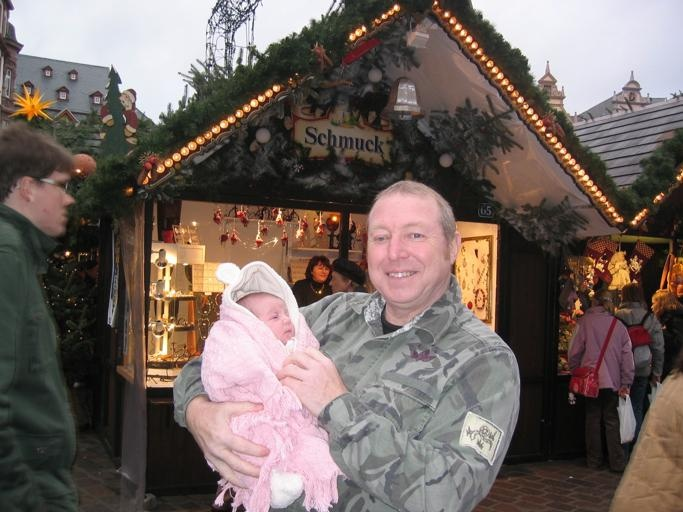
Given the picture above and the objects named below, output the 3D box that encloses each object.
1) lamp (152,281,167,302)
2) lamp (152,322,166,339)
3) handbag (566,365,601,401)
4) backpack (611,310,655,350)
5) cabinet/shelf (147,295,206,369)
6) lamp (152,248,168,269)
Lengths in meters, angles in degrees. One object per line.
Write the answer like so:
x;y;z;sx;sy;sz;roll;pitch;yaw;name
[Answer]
-2.271;0.414;7.997;0.158;0.241;0.090;1;-7;-22;lamp
-2.257;0.905;7.989;0.189;0.292;0.150;1;8;-14;lamp
3.420;1.775;9.037;0.210;0.501;0.482;11;-11;-15;handbag
4.290;1.110;9.424;0.397;0.579;0.586;-11;-31;2;backpack
-2.112;0.955;8.183;0.707;0.895;0.766;1;-2;23;cabinet/shelf
-2.224;-0.005;7.990;0.178;0.309;0.202;0;21;-37;lamp
